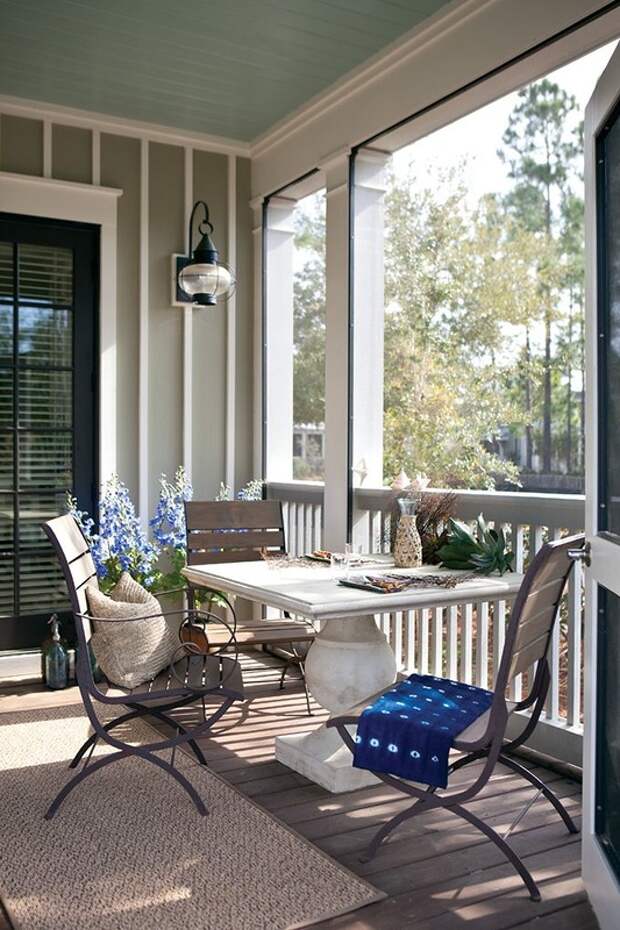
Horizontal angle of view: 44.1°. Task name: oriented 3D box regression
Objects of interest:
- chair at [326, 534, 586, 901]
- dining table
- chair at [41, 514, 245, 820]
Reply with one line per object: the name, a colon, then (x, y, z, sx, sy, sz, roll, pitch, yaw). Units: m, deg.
chair: (0.363, 0.585, 1.936, 0.606, 0.779, 0.509, -1, -1, 44)
dining table: (0.051, 0.614, 2.466, 0.811, 0.595, 0.809, 1, -1, -35)
chair: (-0.506, 0.623, 2.468, 0.655, 0.861, 0.654, 0, -4, 0)
